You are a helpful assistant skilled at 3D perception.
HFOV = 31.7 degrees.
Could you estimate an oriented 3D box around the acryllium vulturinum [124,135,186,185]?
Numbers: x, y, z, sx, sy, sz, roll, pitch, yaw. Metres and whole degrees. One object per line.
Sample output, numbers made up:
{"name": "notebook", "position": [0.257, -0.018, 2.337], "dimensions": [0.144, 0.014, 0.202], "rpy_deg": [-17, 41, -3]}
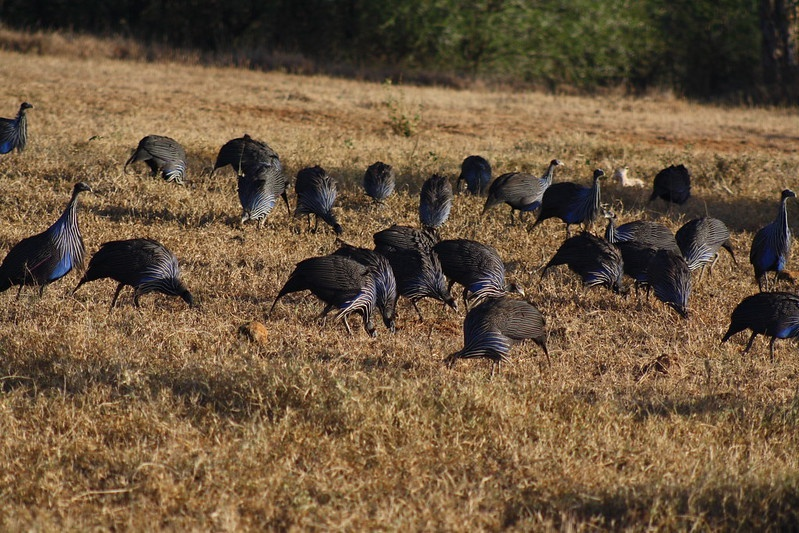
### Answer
{"name": "acryllium vulturinum", "position": [-5.110, -2.346, 30.387], "dimensions": [1.232, 1.336, 0.901], "rpy_deg": [3, -6, 13]}
